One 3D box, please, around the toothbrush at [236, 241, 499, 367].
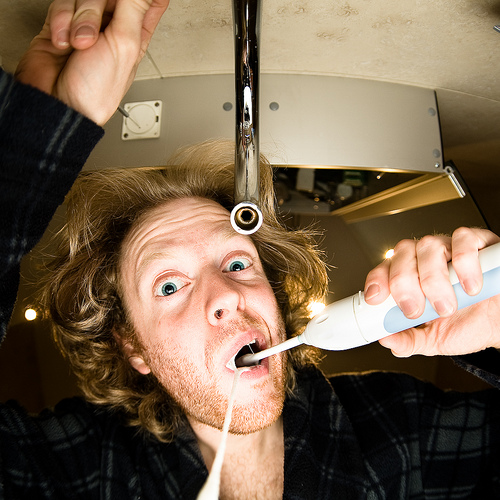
[{"bbox_3d":[0.236,0.105,1.065,0.632,0.117,0.110,-25,-68,20],"label":"toothbrush"}]
